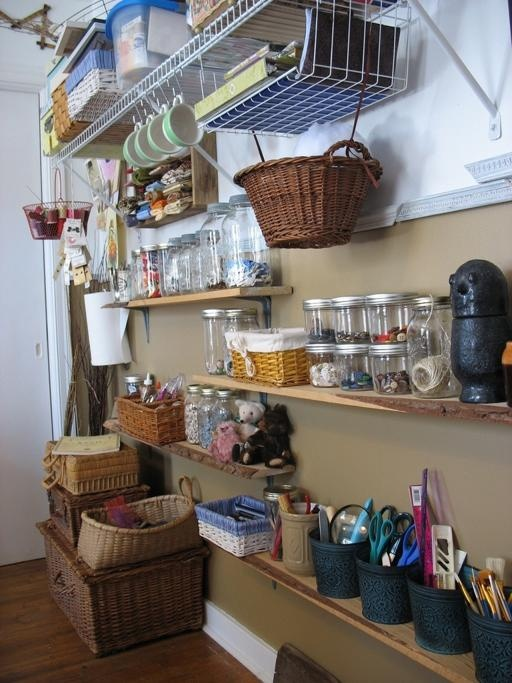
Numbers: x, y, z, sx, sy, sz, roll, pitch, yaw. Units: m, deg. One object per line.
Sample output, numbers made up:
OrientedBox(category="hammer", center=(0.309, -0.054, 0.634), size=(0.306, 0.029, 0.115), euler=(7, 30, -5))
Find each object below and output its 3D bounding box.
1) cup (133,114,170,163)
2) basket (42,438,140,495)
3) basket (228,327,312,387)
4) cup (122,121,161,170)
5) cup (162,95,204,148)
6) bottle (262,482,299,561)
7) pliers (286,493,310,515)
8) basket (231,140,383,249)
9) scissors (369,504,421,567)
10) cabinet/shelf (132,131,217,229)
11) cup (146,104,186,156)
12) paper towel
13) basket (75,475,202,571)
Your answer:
OrientedBox(category="cup", center=(-0.330, -0.639, 1.707), size=(0.059, 0.142, 0.115), euler=(0, 5, 36))
OrientedBox(category="basket", center=(-0.755, 0.542, 2.514), size=(0.319, 0.119, 0.311), euler=(3, -5, -34))
OrientedBox(category="basket", center=(0.041, 0.039, 1.467), size=(0.181, 0.121, 0.247), euler=(-8, 5, -40))
OrientedBox(category="cup", center=(-0.408, -0.670, 1.847), size=(0.149, 0.106, 0.155), euler=(0, 5, 0))
OrientedBox(category="cup", center=(-0.226, -0.606, 1.538), size=(0.070, 0.160, 0.130), euler=(0, 6, 40))
OrientedBox(category="bottle", center=(0.083, 0.544, 1.587), size=(0.115, 0.197, 0.121), euler=(-3, -6, 0))
OrientedBox(category="pliers", center=(0.120, 0.461, 1.504), size=(0.081, 0.059, 0.085), euler=(-2, -6, -4))
OrientedBox(category="basket", center=(0.107, -0.256, 1.077), size=(0.235, 0.151, 0.229), euler=(1, 1, -18))
OrientedBox(category="scissors", center=(0.305, 0.425, 1.160), size=(0.032, 0.105, 0.108), euler=(7, -12, -27))
OrientedBox(category="cabinet/shelf", center=(-0.307, -0.715, 2.027), size=(0.332, 0.299, 0.099), euler=(34, 47, 17))
OrientedBox(category="cup", center=(-0.272, -0.659, 1.638), size=(0.059, 0.125, 0.125), euler=(-14, -34, 19))
OrientedBox(category="paper towel", center=(-0.923, -0.064, 3.034), size=(0.293, 0.466, 0.283), euler=(-1, 5, 39))
OrientedBox(category="basket", center=(-0.509, 0.773, 2.197), size=(0.495, 0.302, 0.324), euler=(-6, 4, -34))
